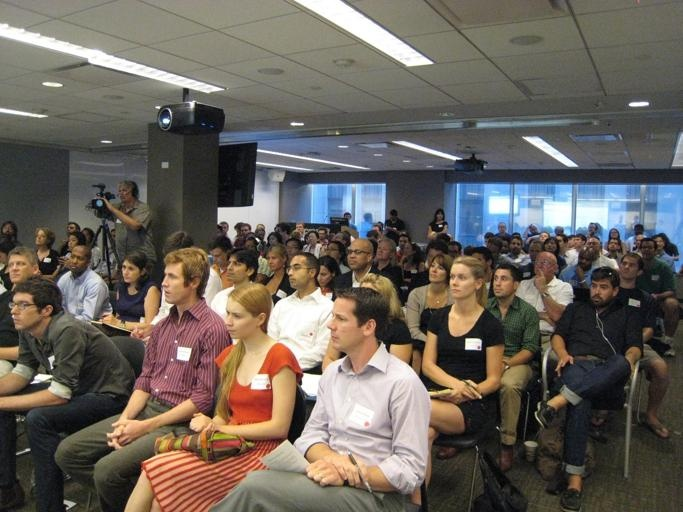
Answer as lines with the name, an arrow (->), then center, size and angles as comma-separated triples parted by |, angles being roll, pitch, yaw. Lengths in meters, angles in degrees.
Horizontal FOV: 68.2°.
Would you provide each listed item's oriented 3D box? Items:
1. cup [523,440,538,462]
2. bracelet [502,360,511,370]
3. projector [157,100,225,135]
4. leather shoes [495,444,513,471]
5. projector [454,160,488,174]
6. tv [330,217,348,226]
cup -> 1.507, 1.550, 4.072 | 0.144, 0.155, 0.151 | 0, -3, 0
bracelet -> 1.343, 0.883, 4.111 | 0.057, 0.028, 0.068 | -13, 20, -18
projector -> -1.777, -1.653, 5.987 | 0.735, 0.375, 0.360 | -3, 12, -18
leather shoes -> 1.264, 1.556, 3.913 | 0.088, 0.119, 0.273 | -4, -2, 19
projector -> 2.526, -1.873, 10.285 | 0.491, 0.205, 0.409 | -2, -4, 39
tv -> -0.047, -0.870, 12.437 | 0.363, 0.088, 0.366 | 1, 0, -26
